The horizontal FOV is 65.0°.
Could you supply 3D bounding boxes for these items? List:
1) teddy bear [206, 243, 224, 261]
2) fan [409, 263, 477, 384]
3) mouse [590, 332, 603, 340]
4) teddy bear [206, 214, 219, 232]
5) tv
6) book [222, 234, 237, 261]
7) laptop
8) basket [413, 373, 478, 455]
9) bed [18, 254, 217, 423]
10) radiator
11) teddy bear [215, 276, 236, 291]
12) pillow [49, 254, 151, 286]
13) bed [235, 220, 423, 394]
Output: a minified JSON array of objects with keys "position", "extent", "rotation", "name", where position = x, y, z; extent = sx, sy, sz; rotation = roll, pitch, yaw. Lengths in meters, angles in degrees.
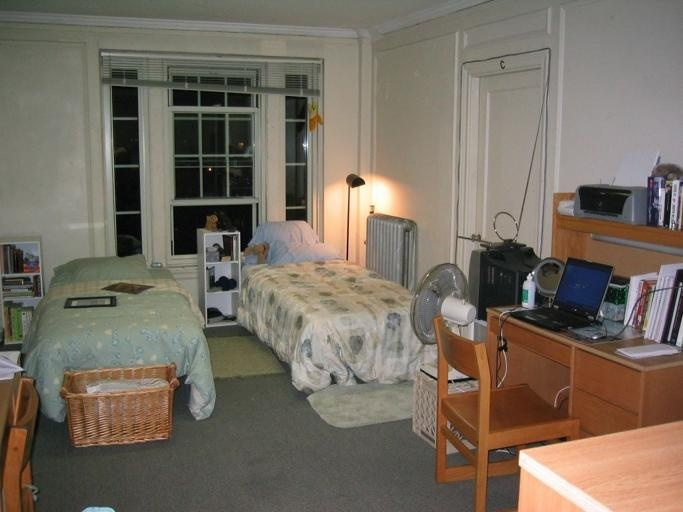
[{"position":[-1.415,-0.038,5.981],"extent":[0.157,0.166,0.156],"rotation":[-1,1,-28],"name":"teddy bear"},{"position":[0.739,0.474,3.786],"extent":[0.566,0.855,0.354],"rotation":[-14,26,-35],"name":"fan"},{"position":[1.408,0.445,2.966],"extent":[0.104,0.027,0.025],"rotation":[-7,33,-22],"name":"mouse"},{"position":[-1.471,-0.372,6.073],"extent":[0.144,0.162,0.183],"rotation":[-3,13,-14],"name":"teddy bear"},{"position":[1.196,0.126,4.184],"extent":[0.522,0.577,0.540],"rotation":[-6,13,-27],"name":"tv"},{"position":[-1.263,-0.097,6.077],"extent":[0.238,0.270,0.254],"rotation":[-3,9,-29],"name":"book"},{"position":[1.340,0.238,3.275],"extent":[0.457,0.361,0.448],"rotation":[-4,9,-21],"name":"laptop"},{"position":[0.641,0.983,3.740],"extent":[0.421,0.599,0.574],"rotation":[1,4,-8],"name":"basket"},{"position":[-1.856,0.489,4.521],"extent":[1.071,0.619,1.703],"rotation":[-3,16,-22],"name":"bed"},{"position":[0.553,-0.019,5.826],"extent":[0.170,1.018,0.730],"rotation":[-6,11,-34],"name":"radiator"},{"position":[-1.309,0.309,6.102],"extent":[0.164,0.071,0.164],"rotation":[-19,45,-33],"name":"teddy bear"},{"position":[-2.327,0.131,5.277],"extent":[0.490,0.140,0.499],"rotation":[-3,13,-19],"name":"pillow"},{"position":[-0.216,0.354,5.405],"extent":[1.481,1.094,2.480],"rotation":[-1,12,-23],"name":"bed"}]
